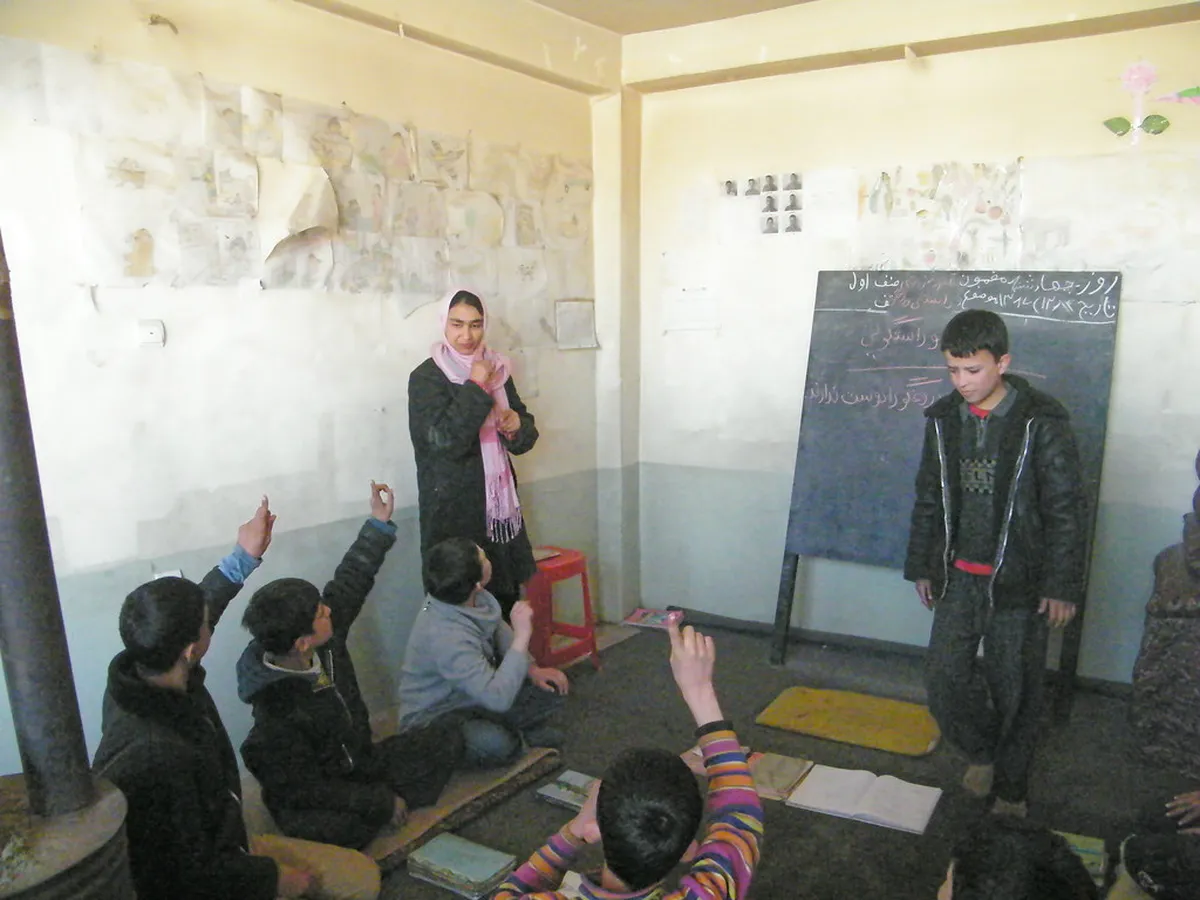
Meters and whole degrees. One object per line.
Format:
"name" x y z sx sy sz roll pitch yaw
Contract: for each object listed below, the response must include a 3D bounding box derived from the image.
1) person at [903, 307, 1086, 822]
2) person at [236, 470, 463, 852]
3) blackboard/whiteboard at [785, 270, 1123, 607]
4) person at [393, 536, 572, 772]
"person" 1.315 0.363 3.033 0.571 1.650 0.338 8 16 32
"person" -0.839 0.777 2.983 0.601 1.012 0.910 -3 13 14
"blackboard/whiteboard" 1.426 -0.081 3.498 1.431 1.417 0.071 7 4 32
"person" -0.462 0.794 3.373 0.603 0.890 0.632 6 15 21
